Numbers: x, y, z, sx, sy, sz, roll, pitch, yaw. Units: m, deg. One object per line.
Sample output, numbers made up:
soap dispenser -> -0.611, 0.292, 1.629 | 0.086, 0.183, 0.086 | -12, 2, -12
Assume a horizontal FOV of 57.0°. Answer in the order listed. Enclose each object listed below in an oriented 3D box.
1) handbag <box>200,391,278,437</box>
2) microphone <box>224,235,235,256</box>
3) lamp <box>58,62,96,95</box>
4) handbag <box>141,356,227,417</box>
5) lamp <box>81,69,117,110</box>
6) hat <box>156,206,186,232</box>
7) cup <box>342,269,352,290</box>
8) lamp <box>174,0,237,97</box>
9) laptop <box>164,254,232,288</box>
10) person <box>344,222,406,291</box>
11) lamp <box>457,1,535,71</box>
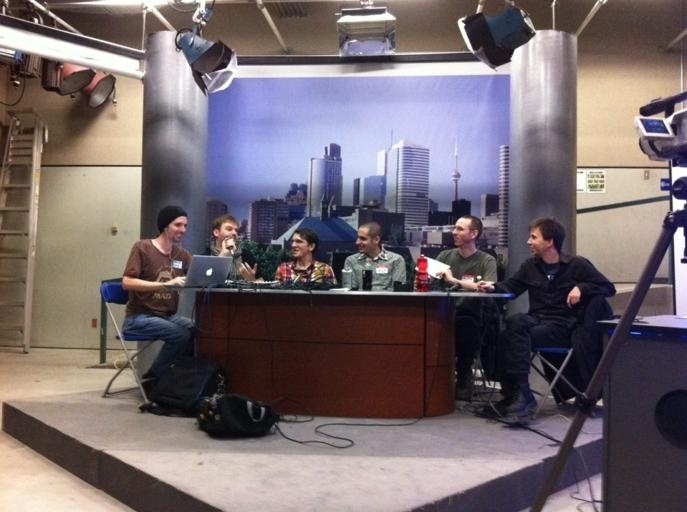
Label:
handbag -> -0.737, 1.097, 4.455 | 0.388, 0.175, 0.313 | 3, -1, -13
microphone -> -0.998, -0.089, 5.617 | 0.080, 0.178, 0.115 | 0, 0, 0
lamp -> -3.176, -2.093, 7.500 | 0.392, 0.379, 0.712 | -3, 8, -24
handbag -> -1.233, 1.022, 4.937 | 0.418, 0.216, 0.549 | -4, 43, 35
lamp -> -2.997, -2.043, 7.920 | 0.392, 0.546, 0.146 | 35, 13, 20
hat -> -1.485, -0.335, 5.476 | 0.224, 0.191, 0.204 | -14, -3, 13
cup -> 0.030, 0.191, 5.403 | 0.112, 0.196, 0.114 | 1, -2, 0
lamp -> -1.311, -1.988, 5.953 | 0.560, 0.851, 0.453 | 2, 7, 9
laptop -> -1.068, 0.115, 4.979 | 0.255, 0.221, 0.362 | 11, 6, 38
person -> 0.320, 0.013, 6.146 | 0.557, 0.735, 0.443 | -7, -13, 39
lamp -> 1.289, -1.853, 5.317 | 0.538, 0.584, 0.264 | -25, 19, 23
